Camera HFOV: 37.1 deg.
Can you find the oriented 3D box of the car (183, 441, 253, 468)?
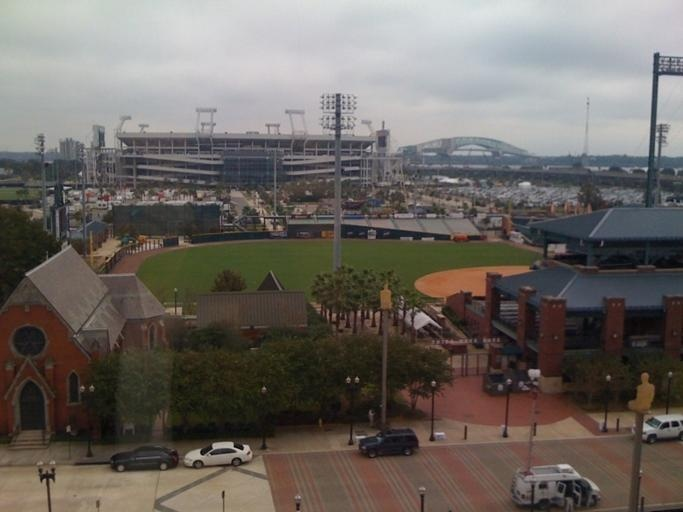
[{"bbox_3d":[-9.773,16.042,82.391,5.216,1.693,0.960,-2,7,-9],"label":"car"}]

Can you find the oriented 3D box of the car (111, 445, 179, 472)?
[{"bbox_3d":[-15.591,16.285,81.765,5.104,1.618,1.099,-2,7,-8],"label":"car"}]

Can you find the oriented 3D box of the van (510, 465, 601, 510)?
[{"bbox_3d":[16.276,18.187,78.737,4.987,2.330,3.399,-3,7,-7],"label":"van"}]
